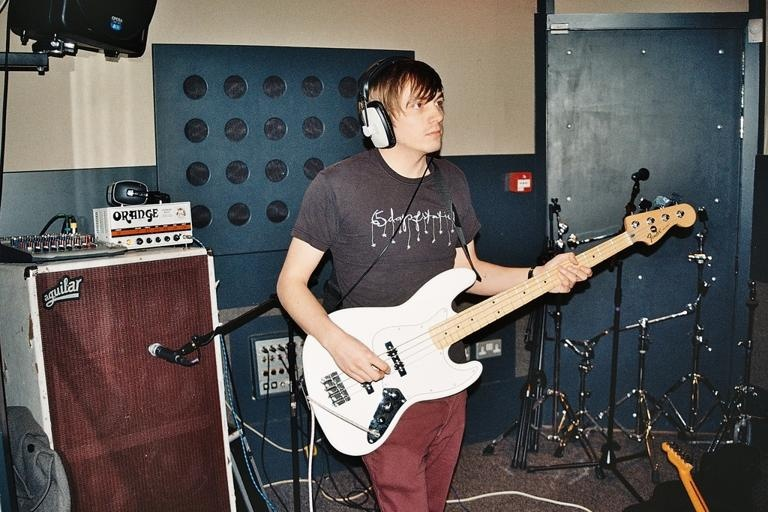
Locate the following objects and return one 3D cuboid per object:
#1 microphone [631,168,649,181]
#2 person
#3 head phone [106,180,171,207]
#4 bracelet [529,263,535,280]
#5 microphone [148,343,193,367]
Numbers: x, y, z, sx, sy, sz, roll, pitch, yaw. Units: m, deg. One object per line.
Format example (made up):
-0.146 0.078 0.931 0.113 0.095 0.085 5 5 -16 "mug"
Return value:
1.575 -0.497 3.869 0.109 0.044 0.078 -20 54 -29 "microphone"
0.133 0.154 2.966 1.206 2.135 0.473 -6 10 -23 "person"
-1.354 -0.339 3.459 0.265 0.098 0.162 4 39 -24 "head phone"
0.740 0.075 3.155 0.013 0.056 0.031 11 -11 -19 "bracelet"
-1.066 0.504 3.179 0.189 0.073 0.110 11 -27 15 "microphone"
